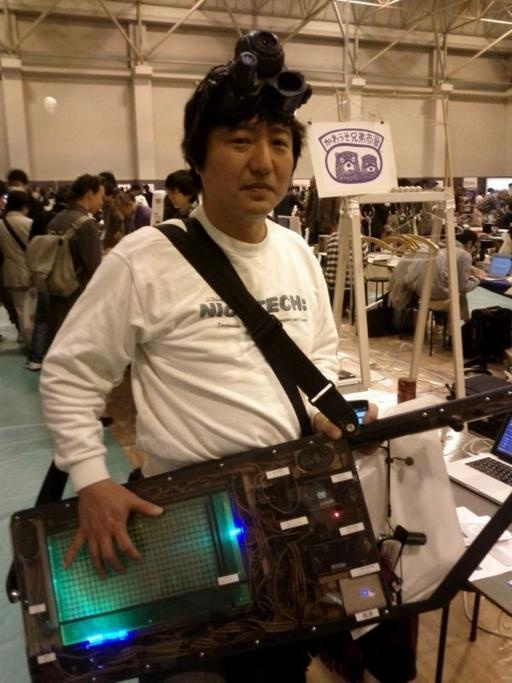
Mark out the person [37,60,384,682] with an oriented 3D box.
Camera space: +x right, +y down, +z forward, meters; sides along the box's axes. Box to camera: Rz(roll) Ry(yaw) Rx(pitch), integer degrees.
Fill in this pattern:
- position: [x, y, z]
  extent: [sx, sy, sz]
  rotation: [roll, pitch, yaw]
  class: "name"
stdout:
- position: [-0.061, 0.056, 0.876]
  extent: [0.559, 0.978, 0.344]
  rotation: [-5, 9, -19]
  class: "person"
